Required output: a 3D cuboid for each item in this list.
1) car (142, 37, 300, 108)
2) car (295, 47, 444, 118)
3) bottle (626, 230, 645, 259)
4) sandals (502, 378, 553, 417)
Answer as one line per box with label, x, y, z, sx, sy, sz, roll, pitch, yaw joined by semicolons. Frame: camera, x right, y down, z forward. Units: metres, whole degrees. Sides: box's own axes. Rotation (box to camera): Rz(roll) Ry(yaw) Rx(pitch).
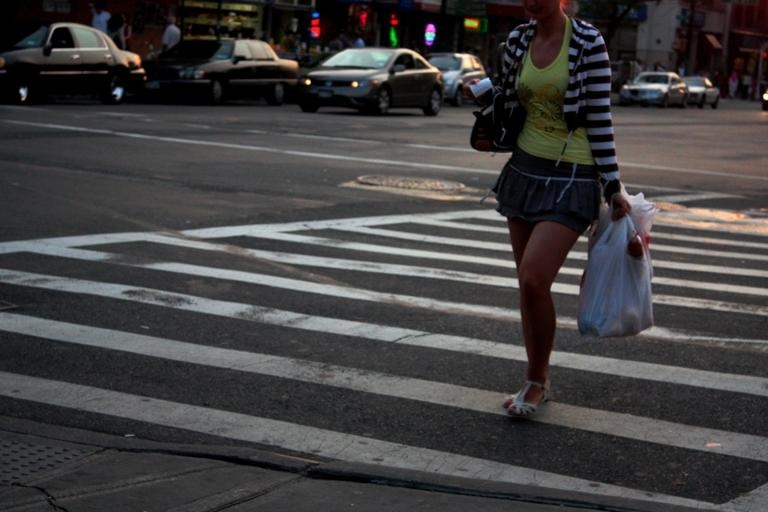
car;-5.426;-5.347;25.242;1.699;1.878;5.007;14;18;36
car;-0.251;-5.068;25.188;2.359;1.938;5.032;13;17;34
bottle;1.623;-0.049;4.863;0.118;0.127;0.048;5;2;-36
sandals;0.968;0.815;5.010;0.176;0.110;0.336;12;21;43
